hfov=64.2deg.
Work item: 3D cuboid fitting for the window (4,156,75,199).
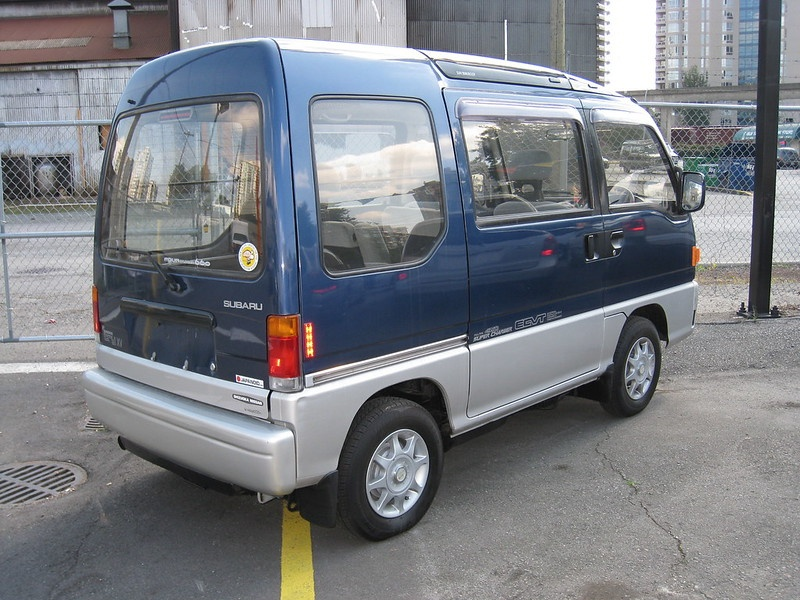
[{"bbox_3d":[-5.131,-1.793,9.156,0.827,0.530,2.283,-8,17,-26],"label":"window"}]

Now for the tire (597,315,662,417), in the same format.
[{"bbox_3d":[1.916,0.553,5.429,0.698,0.823,0.223,-14,22,-41],"label":"tire"}]

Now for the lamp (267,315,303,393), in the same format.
[{"bbox_3d":[-0.607,0.283,3.381,0.179,0.411,0.090,-3,14,-11],"label":"lamp"}]

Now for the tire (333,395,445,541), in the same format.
[{"bbox_3d":[-0.092,1.010,3.802,0.757,0.875,0.258,12,-3,-39],"label":"tire"}]

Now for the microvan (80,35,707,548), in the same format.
[{"bbox_3d":[0.470,-0.371,5.569,5.141,3.048,2.608,-12,14,-41],"label":"microvan"}]
